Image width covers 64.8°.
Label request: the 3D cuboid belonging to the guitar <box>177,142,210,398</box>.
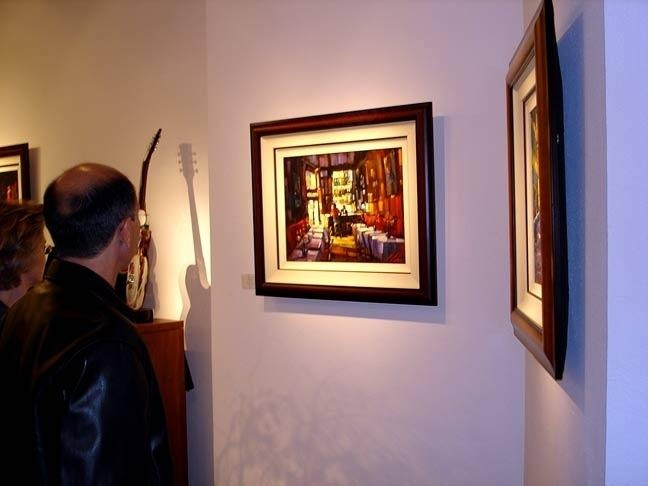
[{"bbox_3d":[-0.906,-0.115,3.578,0.234,1.418,0.051,-1,1,36],"label":"guitar"}]

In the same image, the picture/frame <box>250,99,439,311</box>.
[{"bbox_3d":[0.152,-0.222,2.887,0.991,1.274,0.083,1,4,26],"label":"picture/frame"}]
